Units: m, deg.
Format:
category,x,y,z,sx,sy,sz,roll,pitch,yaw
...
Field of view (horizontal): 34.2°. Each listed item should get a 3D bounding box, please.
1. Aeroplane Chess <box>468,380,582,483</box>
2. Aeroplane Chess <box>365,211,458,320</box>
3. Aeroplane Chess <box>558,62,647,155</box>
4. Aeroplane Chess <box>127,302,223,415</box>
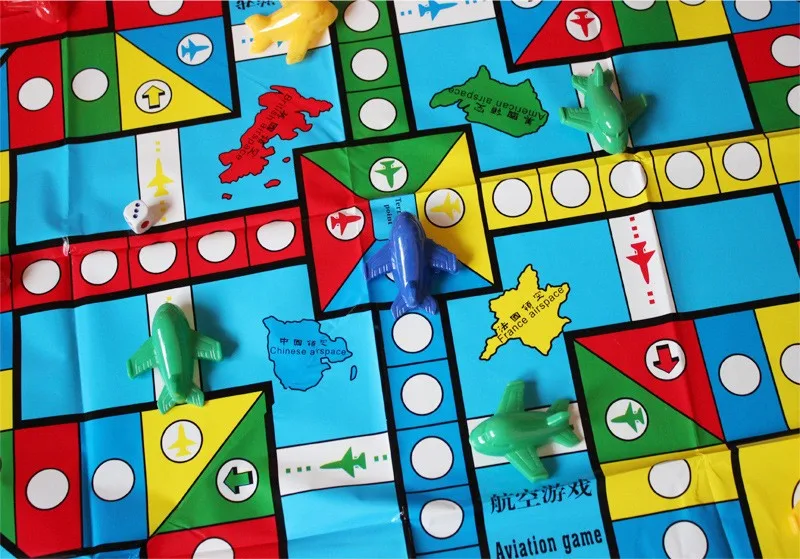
category,x,y,z,sx,sy,sz,roll,pitch,yaw
Aeroplane Chess,0.390,0.474,4.124,0.347,0.302,0.139,-2,11,6
Aeroplane Chess,0.034,-0.039,4.162,0.292,0.337,0.092,-4,-4,2
Aeroplane Chess,0.672,-0.577,4.304,0.310,0.315,0.100,-11,-27,-9
Aeroplane Chess,-0.721,0.237,4.035,0.294,0.351,0.107,-7,-2,-1
